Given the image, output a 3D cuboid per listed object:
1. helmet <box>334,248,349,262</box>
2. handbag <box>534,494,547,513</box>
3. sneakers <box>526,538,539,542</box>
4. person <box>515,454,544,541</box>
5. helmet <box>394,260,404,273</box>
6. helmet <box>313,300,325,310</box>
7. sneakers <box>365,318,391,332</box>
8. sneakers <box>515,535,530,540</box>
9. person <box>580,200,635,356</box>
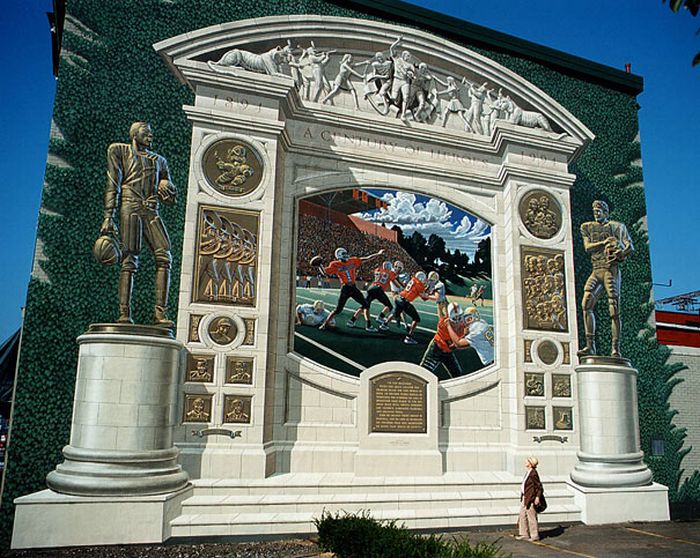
[{"bbox_3d":[-0.225,-0.650,19.074,0.299,0.295,0.367,2,-23,-20],"label":"helmet"},{"bbox_3d":[4.064,4.770,15.459,0.203,0.376,0.319,-3,-10,24],"label":"handbag"},{"bbox_3d":[3.876,5.458,15.257,0.236,0.079,0.158,1,-9,1],"label":"sneakers"},{"bbox_3d":[3.854,4.656,15.498,0.589,1.734,0.618,1,-10,2],"label":"person"},{"bbox_3d":[1.306,-0.341,19.450,0.322,0.304,0.250,0,-3,-3],"label":"helmet"},{"bbox_3d":[-0.804,0.658,18.621,0.259,0.227,0.226,0,-5,0],"label":"helmet"},{"bbox_3d":[0.713,1.212,18.983,0.726,0.288,0.233,1,-3,-12],"label":"sneakers"},{"bbox_3d":[3.674,5.501,15.428,0.256,0.100,0.101,-3,-4,20],"label":"sneakers"},{"bbox_3d":[6.613,-0.077,18.891,1.237,4.233,0.790,-2,-10,18],"label":"person"}]
